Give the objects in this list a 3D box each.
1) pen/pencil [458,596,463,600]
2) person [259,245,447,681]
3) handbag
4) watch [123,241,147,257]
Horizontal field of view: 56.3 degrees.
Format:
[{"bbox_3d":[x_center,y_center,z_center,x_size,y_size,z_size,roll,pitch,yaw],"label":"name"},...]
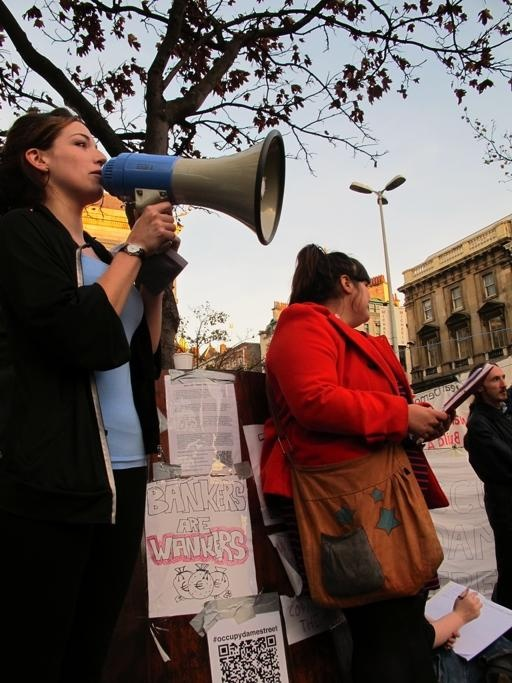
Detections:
[{"bbox_3d":[1.095,1.375,2.578,0.014,0.013,0.027,22,11,24],"label":"pen/pencil"},{"bbox_3d":[0.300,0.262,2.035,0.834,1.876,0.751,-6,-9,23],"label":"person"},{"bbox_3d":[0.361,0.626,1.653,0.447,0.501,0.297,-3,-5,-1],"label":"handbag"},{"bbox_3d":[-0.314,-0.233,1.251,0.054,0.034,0.050,17,-1,-25],"label":"watch"}]
